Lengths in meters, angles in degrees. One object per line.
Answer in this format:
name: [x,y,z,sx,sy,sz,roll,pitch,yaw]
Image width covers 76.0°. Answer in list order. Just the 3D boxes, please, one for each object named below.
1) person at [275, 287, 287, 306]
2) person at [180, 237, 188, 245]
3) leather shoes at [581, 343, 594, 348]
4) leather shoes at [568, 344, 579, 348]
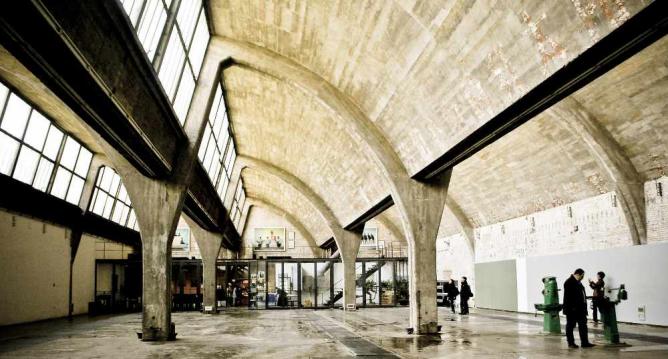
person: [-5.246,11.879,42.395,1.056,1.810,1.248,-2,-20,4]
person: [-20.285,8.590,57.887,0.921,0.885,0.905,10,-17,-33]
leather shoes: [11.075,7.389,18.811,0.609,0.239,0.201,0,-10,-6]
leather shoes: [10.483,7.433,18.765,0.186,0.125,0.330,9,-18,-35]
